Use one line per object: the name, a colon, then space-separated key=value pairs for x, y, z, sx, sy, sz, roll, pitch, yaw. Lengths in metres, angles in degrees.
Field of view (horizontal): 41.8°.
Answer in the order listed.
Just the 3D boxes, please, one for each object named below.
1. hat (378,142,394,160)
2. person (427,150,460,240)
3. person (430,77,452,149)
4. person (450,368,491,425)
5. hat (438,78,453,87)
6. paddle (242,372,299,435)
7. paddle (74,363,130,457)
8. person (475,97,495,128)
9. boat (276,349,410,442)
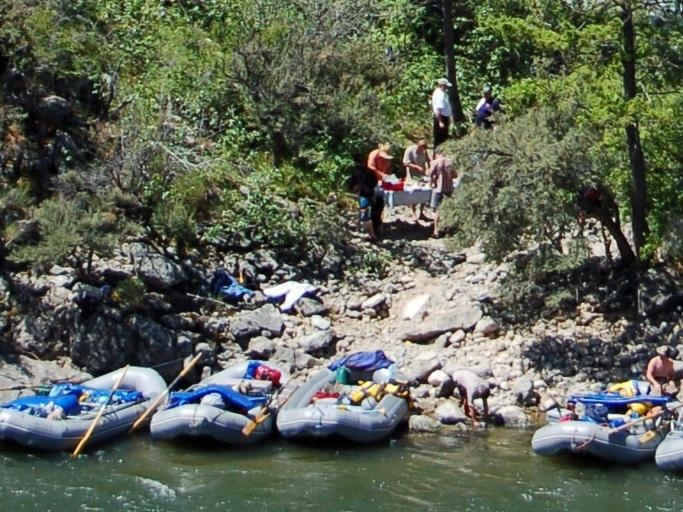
hat: x=1.158 y=-2.822 z=23.833 sx=0.422 sy=0.218 sz=0.564 roll=18 pitch=4 yaw=-7
person: x=2.713 y=-1.631 z=24.058 sx=0.768 sy=2.256 sz=0.689 roll=13 pitch=-23 yaw=20
person: x=2.844 y=-4.079 z=25.524 sx=0.489 sy=1.701 sz=0.770 roll=3 pitch=-1 yaw=7
person: x=2.923 y=2.999 z=19.594 sx=0.430 sy=0.984 sz=1.553 roll=-11 pitch=18 yaw=-9
hat: x=2.988 y=-4.983 z=25.426 sx=0.332 sy=0.202 sz=0.535 roll=19 pitch=5 yaw=41
paddle: x=-1.377 y=3.107 z=19.422 sx=2.252 sy=0.395 sz=0.263 roll=-46 pitch=-1 yaw=-45
paddle: x=-4.991 y=3.122 z=19.374 sx=0.176 sy=0.324 sz=3.069 roll=-33 pitch=21 yaw=31
person: x=4.126 y=-4.118 z=25.274 sx=0.595 sy=0.946 sz=1.342 roll=3 pitch=-1 yaw=10
boat: x=0.110 y=3.040 z=19.540 sx=2.901 sy=1.803 sz=1.837 roll=4 pitch=-1 yaw=-14
